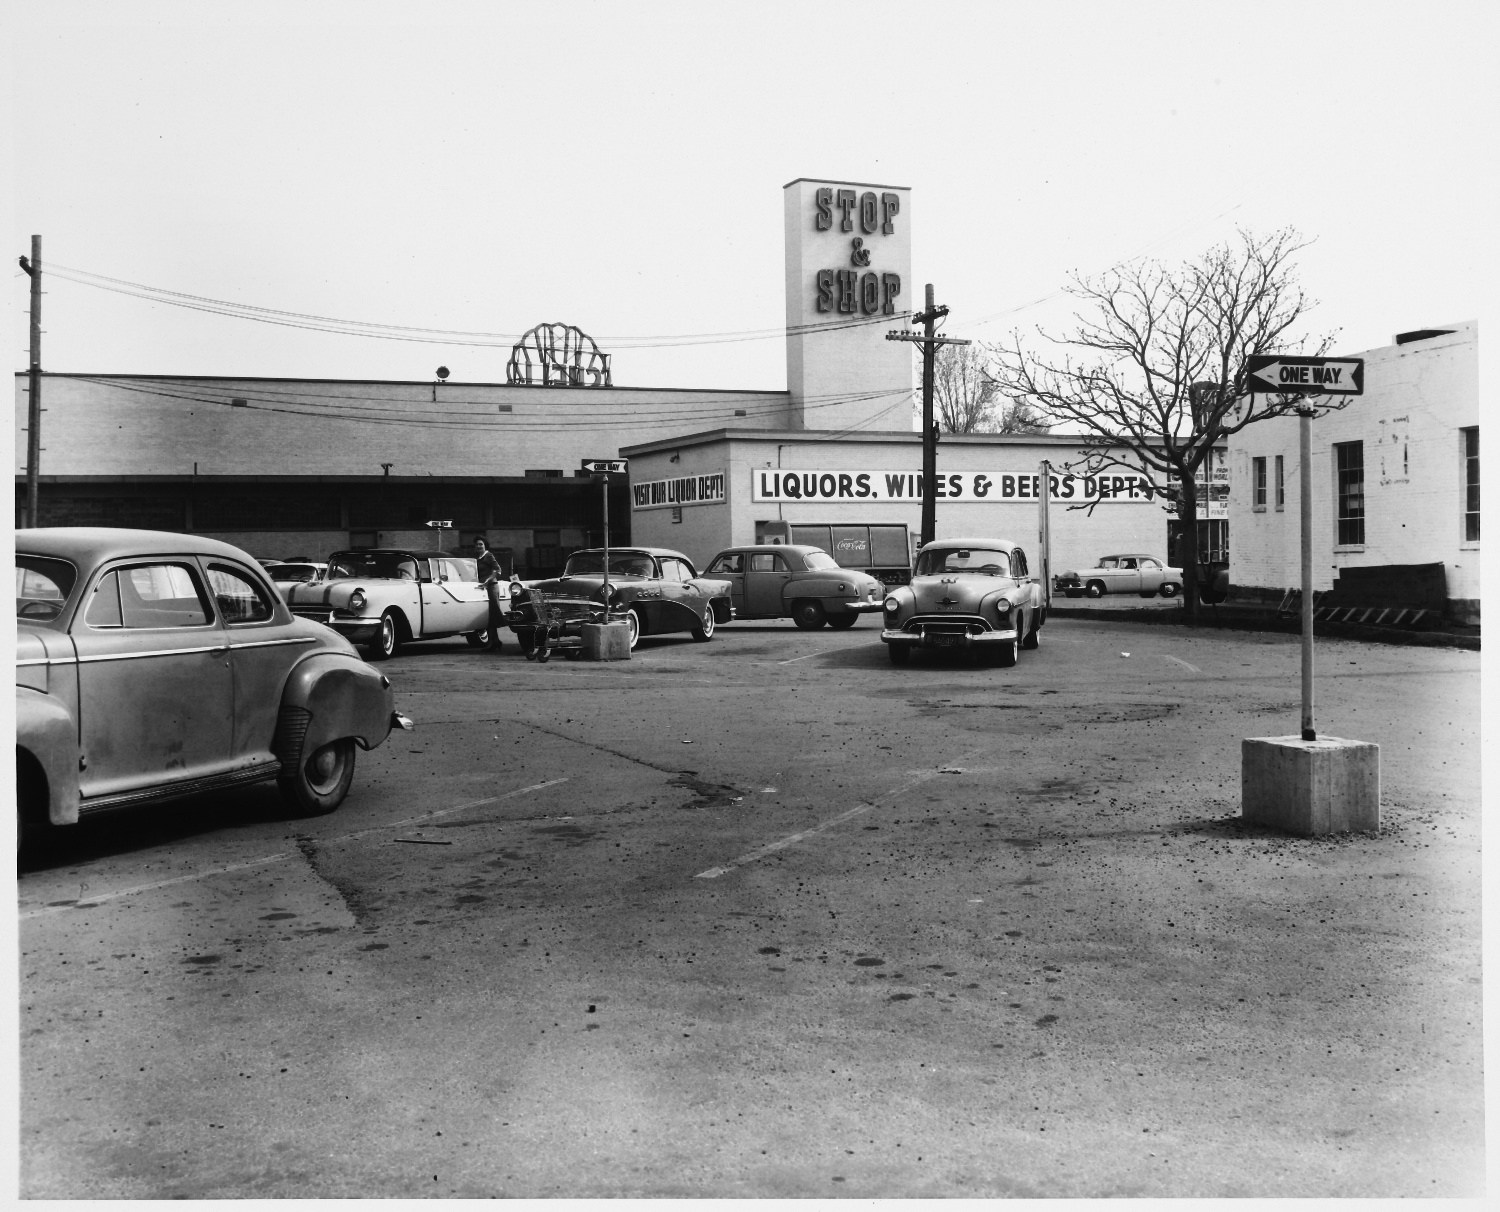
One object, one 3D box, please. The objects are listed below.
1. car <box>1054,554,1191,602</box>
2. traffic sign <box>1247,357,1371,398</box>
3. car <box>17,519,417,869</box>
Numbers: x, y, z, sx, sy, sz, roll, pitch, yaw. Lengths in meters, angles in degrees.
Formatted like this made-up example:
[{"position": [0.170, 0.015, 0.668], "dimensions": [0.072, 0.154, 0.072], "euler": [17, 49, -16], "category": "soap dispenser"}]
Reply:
[{"position": [12.543, -0.899, 47.637], "dimensions": [3.635, 1.366, 1.756], "euler": [1, -2, -4], "category": "car"}, {"position": [3.714, -1.564, 9.358], "dimensions": [0.695, 0.359, 1.258], "euler": [2, 4, 20], "category": "traffic sign"}, {"position": [-3.402, 0.392, 8.435], "dimensions": [1.360, 1.082, 2.237], "euler": [-3, -3, 33], "category": "car"}]
